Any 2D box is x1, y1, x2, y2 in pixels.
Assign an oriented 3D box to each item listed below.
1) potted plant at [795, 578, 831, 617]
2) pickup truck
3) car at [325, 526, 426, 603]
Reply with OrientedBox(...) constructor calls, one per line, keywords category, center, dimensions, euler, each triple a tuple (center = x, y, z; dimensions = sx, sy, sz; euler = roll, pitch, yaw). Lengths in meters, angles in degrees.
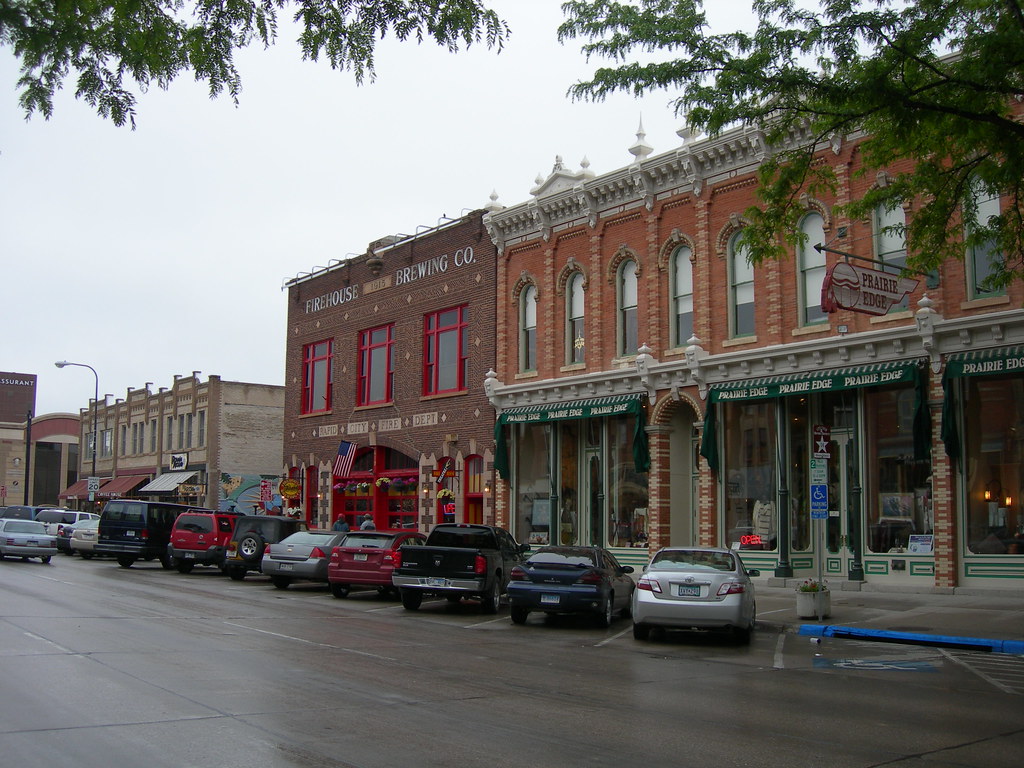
OrientedBox(category="potted plant", center=(6.241, 4.424, 21.687), dimensions=(0.703, 0.754, 0.726), euler=(2, -11, -12))
OrientedBox(category="pickup truck", center=(-0.923, 4.164, 24.066), dimensions=(1.617, 1.225, 2.879), euler=(-2, -5, 19))
OrientedBox(category="car", center=(-3.500, 4.310, 25.484), dimensions=(1.251, 1.128, 2.642), euler=(-1, -5, 17))
